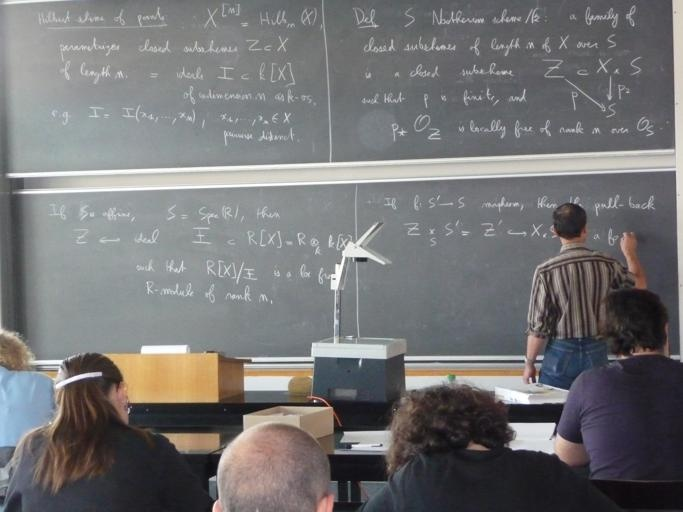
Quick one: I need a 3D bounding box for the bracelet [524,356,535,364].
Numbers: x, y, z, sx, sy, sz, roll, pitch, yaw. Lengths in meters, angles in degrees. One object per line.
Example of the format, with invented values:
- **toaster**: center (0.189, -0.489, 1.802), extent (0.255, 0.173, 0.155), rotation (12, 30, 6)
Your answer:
- **bracelet**: center (0.987, 0.552, 5.591), extent (0.039, 0.032, 0.032), rotation (-1, -5, 15)
